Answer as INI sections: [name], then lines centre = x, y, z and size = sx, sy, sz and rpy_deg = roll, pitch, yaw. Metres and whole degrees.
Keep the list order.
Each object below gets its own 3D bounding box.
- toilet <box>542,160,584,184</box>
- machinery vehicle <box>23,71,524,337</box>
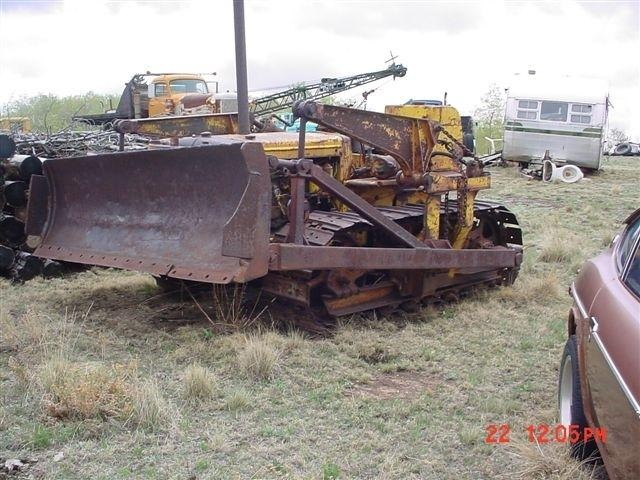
[toilet]
centre = 7.344, -1.995, 17.029
size = 1.205, 0.757, 0.650
rpy_deg = 16, -18, 23
[machinery vehicle]
centre = 0.005, -0.443, 6.812
size = 4.476, 2.288, 3.464
rpy_deg = -4, 8, -43
